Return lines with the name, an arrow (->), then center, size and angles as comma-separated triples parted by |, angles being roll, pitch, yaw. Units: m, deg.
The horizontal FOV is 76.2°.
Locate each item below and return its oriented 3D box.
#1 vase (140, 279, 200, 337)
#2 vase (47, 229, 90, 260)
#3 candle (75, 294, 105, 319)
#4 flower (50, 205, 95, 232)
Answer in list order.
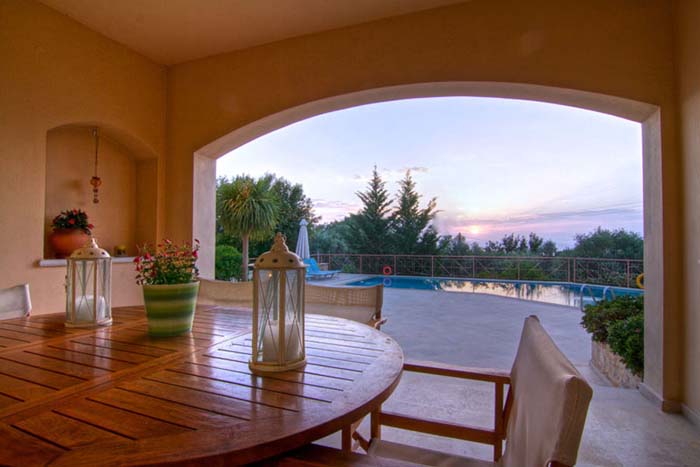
vase -> -1.185, 0.497, 2.991 | 0.386, 0.322, 0.357 | 1, -2, -37
vase -> -3.011, 0.113, 4.787 | 0.325, 0.262, 0.322 | -1, 3, -44
candle -> -1.763, 0.489, 3.028 | 0.153, 0.142, 0.153 | 2, 1, -31
flower -> -3.404, -0.159, 5.451 | 0.396, 0.327, 0.493 | 0, -1, -34
